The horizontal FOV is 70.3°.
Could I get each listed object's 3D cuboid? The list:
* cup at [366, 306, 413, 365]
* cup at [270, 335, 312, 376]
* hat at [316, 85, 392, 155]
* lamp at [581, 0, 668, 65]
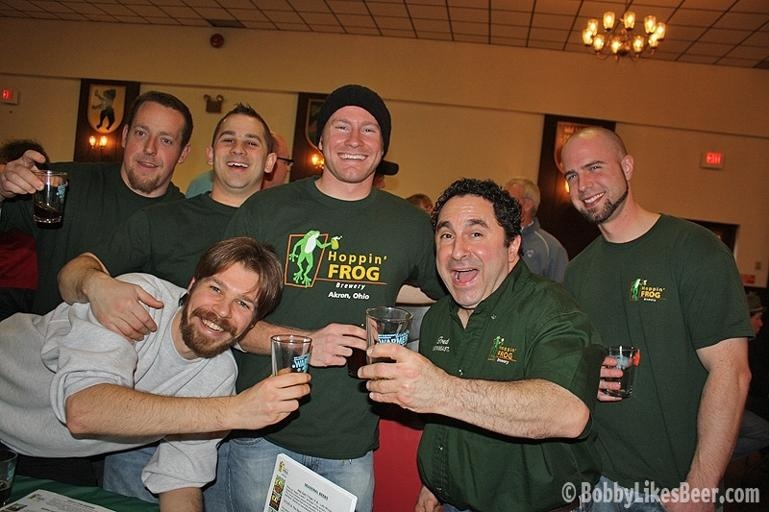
[{"bbox_3d":[-0.021,0.387,2.812,0.288,0.269,0.247,3,10,-5],"label":"cup"},{"bbox_3d":[-0.466,0.491,2.724,0.184,0.264,0.177,4,18,-1],"label":"cup"},{"bbox_3d":[-0.257,-0.879,3.625,0.622,0.425,0.610,-5,8,-28],"label":"hat"},{"bbox_3d":[3.392,-3.144,7.799,1.048,0.533,1.131,1,0,-17],"label":"lamp"}]
